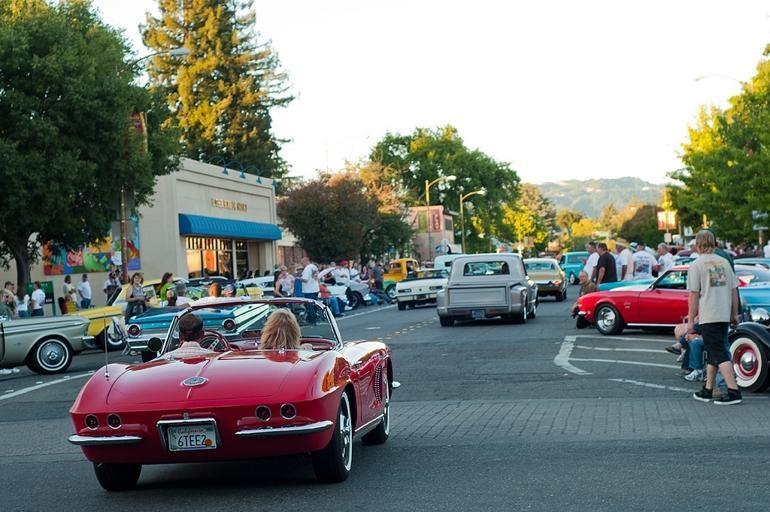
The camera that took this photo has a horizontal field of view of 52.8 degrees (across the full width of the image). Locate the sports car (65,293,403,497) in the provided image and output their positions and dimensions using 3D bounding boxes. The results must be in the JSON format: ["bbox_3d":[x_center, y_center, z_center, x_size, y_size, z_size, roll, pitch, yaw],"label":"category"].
[{"bbox_3d":[-1.576,1.589,10.056,2.809,1.915,5.328,-4,-4,5],"label":"sports car"}]
